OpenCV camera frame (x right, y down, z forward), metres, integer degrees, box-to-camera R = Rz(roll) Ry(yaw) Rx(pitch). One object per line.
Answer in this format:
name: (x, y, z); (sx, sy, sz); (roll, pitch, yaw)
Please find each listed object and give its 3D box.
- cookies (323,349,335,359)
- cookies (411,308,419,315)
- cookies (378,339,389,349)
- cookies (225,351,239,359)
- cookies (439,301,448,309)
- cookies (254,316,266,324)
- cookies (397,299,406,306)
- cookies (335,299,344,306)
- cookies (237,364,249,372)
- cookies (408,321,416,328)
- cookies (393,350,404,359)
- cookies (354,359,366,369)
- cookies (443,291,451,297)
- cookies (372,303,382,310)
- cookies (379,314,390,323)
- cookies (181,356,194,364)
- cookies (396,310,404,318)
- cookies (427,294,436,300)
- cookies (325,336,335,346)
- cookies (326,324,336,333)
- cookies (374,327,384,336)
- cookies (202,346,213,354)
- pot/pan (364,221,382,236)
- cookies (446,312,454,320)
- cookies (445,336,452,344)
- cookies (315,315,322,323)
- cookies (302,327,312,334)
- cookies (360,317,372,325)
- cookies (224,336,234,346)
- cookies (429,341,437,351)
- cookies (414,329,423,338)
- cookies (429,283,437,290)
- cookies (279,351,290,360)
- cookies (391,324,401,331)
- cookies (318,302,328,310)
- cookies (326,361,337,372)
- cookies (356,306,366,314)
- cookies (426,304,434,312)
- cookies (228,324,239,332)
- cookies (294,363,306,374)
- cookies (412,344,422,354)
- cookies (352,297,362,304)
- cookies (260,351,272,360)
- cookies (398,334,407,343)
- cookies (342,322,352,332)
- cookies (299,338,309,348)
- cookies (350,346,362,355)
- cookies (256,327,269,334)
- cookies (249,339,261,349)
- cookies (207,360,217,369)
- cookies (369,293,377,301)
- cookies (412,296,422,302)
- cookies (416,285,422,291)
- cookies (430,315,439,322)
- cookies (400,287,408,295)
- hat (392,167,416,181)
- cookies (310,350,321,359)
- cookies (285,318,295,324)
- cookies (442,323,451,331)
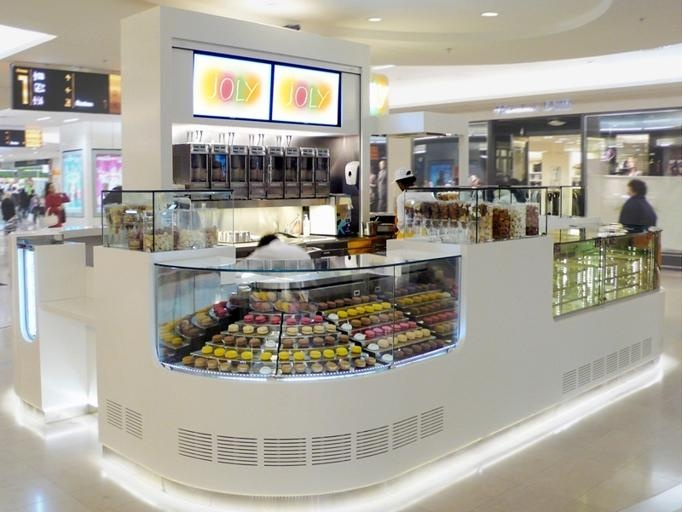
cookies: (-0.081, 0.614, 3.049); (0.059, 0.036, 0.058); (-2, 7, -7)
cookies: (0.493, 0.367, 3.280); (0.049, 0.038, 0.064); (1, 2, -18)
cookies: (0.272, 0.568, 3.152); (0.062, 0.026, 0.063); (3, 6, 29)
cookies: (-0.690, 0.610, 3.016); (0.056, 0.029, 0.055); (1, 8, -9)
cookies: (0.720, 0.341, 3.408); (0.048, 0.023, 0.046); (0, 3, 4)
cookies: (-0.503, 0.391, 3.010); (0.052, 0.027, 0.052); (1, 2, 11)
cookies: (0.393, 0.300, 3.181); (0.049, 0.024, 0.048); (0, 3, 1)
cookies: (-0.014, 0.289, 3.067); (0.041, 0.025, 0.041); (4, 7, 20)
cookies: (-0.611, 0.691, 2.995); (0.054, 0.019, 0.054); (0, 9, -6)
cookies: (0.477, 0.461, 3.269); (0.050, 0.033, 0.050); (1, 3, 30)
cookies: (0.377, 0.643, 3.225); (0.064, 0.032, 0.062); (-5, 9, -36)
cookies: (0.115, 0.684, 3.091); (0.064, 0.026, 0.063); (-3, 10, -16)
cookies: (0.744, 0.268, 3.421); (0.043, 0.023, 0.042); (4, -1, -43)
cookies: (0.226, 0.323, 3.113); (0.048, 0.024, 0.047); (-3, 5, -34)
cookies: (0.276, 0.403, 3.125); (0.054, 0.035, 0.053); (1, 9, 3)
cookies: (-0.988, 0.666, 3.098); (0.061, 0.035, 0.060); (-2, 10, -8)
cookies: (0.381, 0.375, 3.174); (0.056, 0.032, 0.055); (1, -2, 8)
cookies: (0.621, 0.280, 3.338); (0.046, 0.028, 0.046); (0, 1, 14)
cookies: (-0.080, 0.534, 3.060); (0.057, 0.039, 0.055); (-4, 8, -34)
cookies: (-0.069, 0.456, 3.064); (0.053, 0.035, 0.052); (-1, 7, -18)
cookies: (0.240, 0.481, 3.128); (0.068, 0.051, 0.005); (-2, 8, -10)
cookies: (-0.849, 0.588, 3.050); (0.054, 0.025, 0.052); (-11, 17, -32)
pot/pan: (0.450, -0.391, 6.969); (0.224, 0.163, 0.167); (-2, 7, -14)
cookies: (0.782, 0.419, 3.470); (0.060, 0.044, 0.060); (13, 21, 35)
cookies: (0.765, 0.596, 3.458); (0.058, 0.055, 0.014); (17, 4, -12)
cookies: (-0.147, 0.393, 3.047); (0.044, 0.024, 0.045); (4, 7, 35)
cookies: (-0.217, 0.465, 3.038); (0.051, 0.027, 0.048); (1, 4, -3)
cookies: (0.153, 0.414, 3.112); (0.050, 0.035, 0.050); (3, 3, 8)
cookies: (-0.703, 0.528, 3.024); (0.058, 0.038, 0.057); (-4, 8, -36)
cookies: (0.641, 0.620, 3.381); (0.063, 0.035, 0.064); (-1, 8, 17)
cookies: (0.530, 0.528, 3.314); (0.055, 0.031, 0.055); (4, 6, 16)
cookies: (0.630, 0.211, 3.345); (0.056, 0.040, 0.041); (0, -2, 14)
cookies: (-0.357, 0.617, 3.000); (0.055, 0.036, 0.054); (0, 4, 2)
cookies: (0.358, 0.466, 3.175); (0.044, 0.011, 0.045); (-6, 9, -36)
cookies: (-0.117, 0.313, 3.036); (0.052, 0.031, 0.052); (1, 7, -4)
cookies: (-0.062, 0.689, 3.036); (0.062, 0.024, 0.063); (11, 10, 32)
cookies: (0.124, 0.343, 3.103); (0.045, 0.026, 0.045); (0, -1, 6)
cookies: (0.606, 0.355, 3.328); (0.037, 0.016, 0.050); (-3, 6, -16)
cookies: (-0.676, 0.447, 3.022); (0.054, 0.032, 0.054); (0, 4, 1)
cookies: (-0.262, 0.685, 3.006); (0.063, 0.032, 0.062); (-8, 16, -34)
cookies: (0.518, 0.635, 3.308); (0.051, 0.026, 0.052); (2, 2, 40)
cookies: (0.102, 0.282, 3.099); (0.048, 0.027, 0.048); (1, 5, -5)
cookies: (-0.469, 0.616, 2.998); (0.055, 0.030, 0.057); (5, 7, 36)
cookies: (0.406, 0.542, 3.224); (0.052, 0.034, 0.051); (-2, 7, -1)
cookies: (0.036, 0.449, 3.083); (0.058, 0.037, 0.057); (-3, 7, -15)
cookies: (-0.239, 0.542, 3.034); (0.060, 0.043, 0.050); (-4, 9, -31)
cookies: (0.087, 0.590, 3.095); (0.061, 0.042, 0.061); (7, 12, 30)
cookies: (-0.496, 0.462, 3.011); (0.053, 0.027, 0.051); (-2, 1, -35)
cookies: (-0.540, 0.538, 3.007); (0.065, 0.033, 0.064); (-8, 13, -42)
cookies: (-0.815, 0.676, 3.039); (0.057, 0.028, 0.058); (-9, 16, -32)
cookies: (0.202, 0.261, 3.113); (0.046, 0.028, 0.046); (0, 4, 7)
cookies: (0.521, 0.286, 3.274); (0.054, 0.027, 0.053); (-1, 2, -12)
cookies: (0.526, 0.213, 3.279); (0.043, 0.029, 0.043); (2, 4, 11)
cookies: (0.650, 0.431, 3.367); (0.047, 0.030, 0.047); (2, 2, -6)
cookies: (0.413, 0.228, 3.190); (0.048, 0.032, 0.049); (1, 4, 33)
hat: (0.758, -0.978, 5.804); (0.233, 0.087, 0.169); (-17, 13, -10)
cookies: (-0.166, 0.615, 3.031); (0.055, 0.033, 0.055); (0, 4, 2)
cookies: (-0.319, 0.407, 3.016); (0.040, 0.019, 0.040); (1, 5, 12)
cookies: (0.758, 0.506, 3.450); (0.062, 0.035, 0.062); (2, 3, 8)
